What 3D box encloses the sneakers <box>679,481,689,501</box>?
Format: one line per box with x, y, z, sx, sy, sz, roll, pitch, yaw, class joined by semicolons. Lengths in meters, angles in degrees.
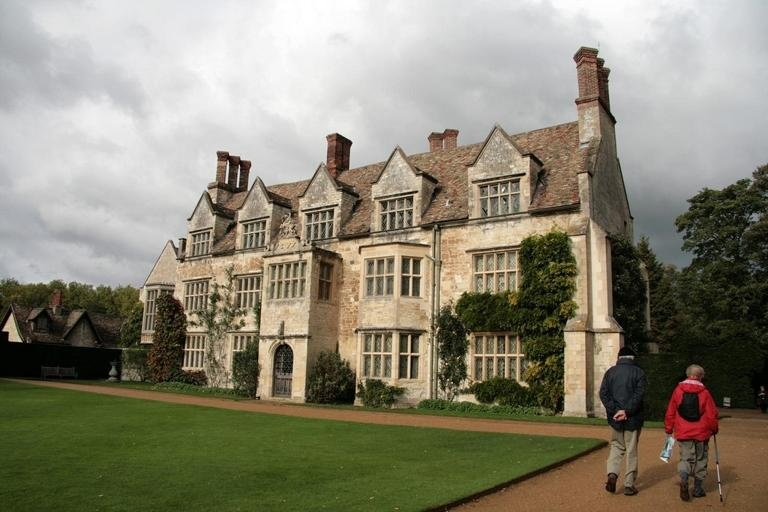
6.359;4.995;12.955;0.197;0.450;0.214;-8;-12;29;sneakers

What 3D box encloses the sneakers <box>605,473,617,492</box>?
4.991;4.938;13.268;0.218;0.485;0.226;4;15;10;sneakers

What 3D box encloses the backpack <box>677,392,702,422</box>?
6.715;3.322;13.318;0.576;0.702;0.380;-2;-27;36;backpack

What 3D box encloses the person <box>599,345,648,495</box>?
5.339;3.638;13.537;0.918;3.167;0.427;-1;-15;16;person

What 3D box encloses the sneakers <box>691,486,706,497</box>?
6.779;5.070;13.086;0.150;0.161;0.393;-8;-10;35;sneakers

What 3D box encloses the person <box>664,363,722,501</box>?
6.712;3.820;13.254;1.000;2.846;0.502;-3;-15;23;person
